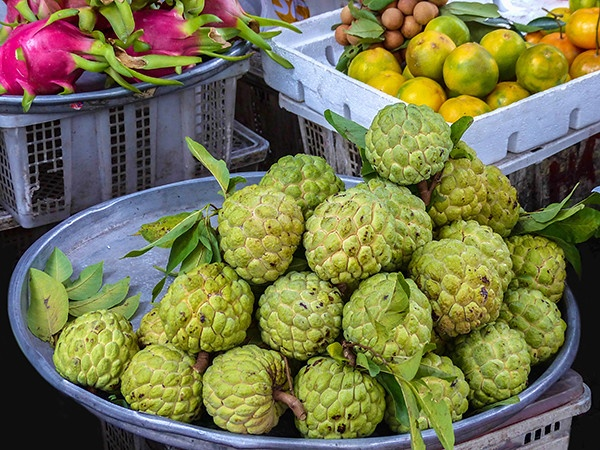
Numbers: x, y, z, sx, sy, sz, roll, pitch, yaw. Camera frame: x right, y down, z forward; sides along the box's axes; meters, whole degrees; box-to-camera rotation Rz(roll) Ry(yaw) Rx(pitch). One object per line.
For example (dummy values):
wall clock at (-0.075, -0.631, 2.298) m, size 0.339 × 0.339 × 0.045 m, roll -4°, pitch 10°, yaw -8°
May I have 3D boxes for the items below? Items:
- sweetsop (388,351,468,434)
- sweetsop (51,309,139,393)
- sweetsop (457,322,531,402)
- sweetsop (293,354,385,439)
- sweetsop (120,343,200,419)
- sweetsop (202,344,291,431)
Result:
sweetsop at (0.189, 0.227, 0.781) m, size 0.110 × 0.120 × 0.095 m, roll 1°, pitch 5°, yaw -6°
sweetsop at (-0.322, 0.188, 0.810) m, size 0.103 × 0.117 × 0.126 m, roll 17°, pitch 3°, yaw -2°
sweetsop at (0.281, 0.195, 0.807) m, size 0.104 × 0.093 × 0.103 m, roll -21°, pitch 76°, yaw 18°
sweetsop at (0.046, 0.223, 0.697) m, size 0.104 × 0.094 × 0.109 m, roll 0°, pitch 72°, yaw -1°
sweetsop at (-0.192, 0.214, 0.744) m, size 0.097 × 0.089 × 0.094 m, roll 2°, pitch 50°, yaw -12°
sweetsop at (-0.078, 0.219, 0.756) m, size 0.108 × 0.101 × 0.115 m, roll 13°, pitch 45°, yaw 2°
